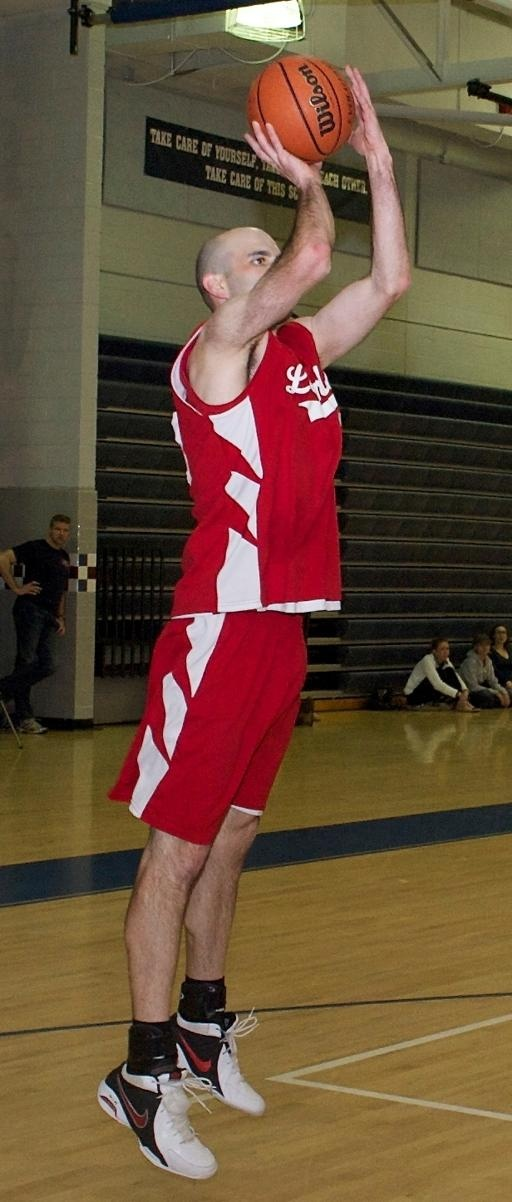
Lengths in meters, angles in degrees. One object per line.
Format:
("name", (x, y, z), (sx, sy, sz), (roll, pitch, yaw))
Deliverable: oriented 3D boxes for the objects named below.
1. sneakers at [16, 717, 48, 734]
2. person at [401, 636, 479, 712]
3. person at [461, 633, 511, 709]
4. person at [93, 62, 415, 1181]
("sneakers", (-1.871, 1.039, 7.668), (0.224, 0.138, 0.108), (1, 4, 2))
("person", (2.020, 0.789, 10.221), (0.748, 0.925, 0.587), (3, 7, -1))
("person", (2.574, 0.805, 10.702), (0.671, 1.043, 0.628), (0, 3, 8))
("person", (-0.018, -0.019, 1.417), (0.474, 1.654, 0.372), (-5, -8, 44))
